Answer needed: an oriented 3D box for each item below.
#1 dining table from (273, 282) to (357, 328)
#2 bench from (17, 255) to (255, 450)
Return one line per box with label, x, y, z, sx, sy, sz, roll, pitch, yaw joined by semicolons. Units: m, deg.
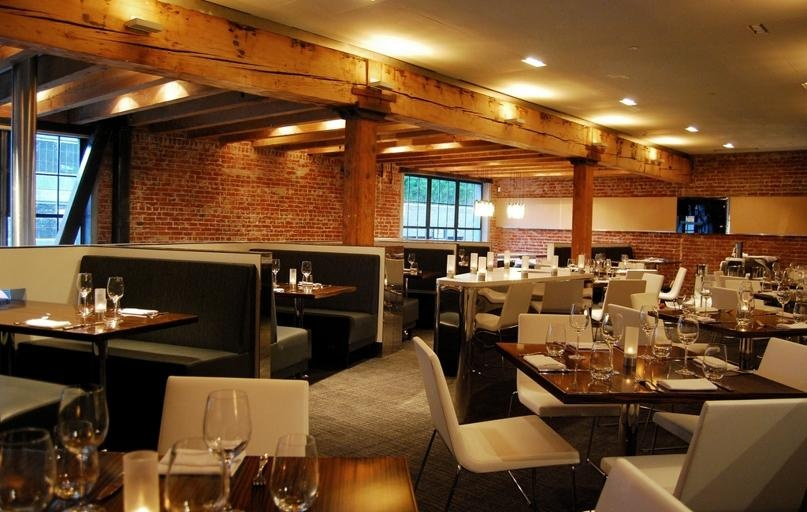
dining table;-1.021;0.433;6.457;0.646;0.573;0.635;6;8;28
bench;-1.969;0.719;4.435;1.707;1.227;0.847;0;-4;26
